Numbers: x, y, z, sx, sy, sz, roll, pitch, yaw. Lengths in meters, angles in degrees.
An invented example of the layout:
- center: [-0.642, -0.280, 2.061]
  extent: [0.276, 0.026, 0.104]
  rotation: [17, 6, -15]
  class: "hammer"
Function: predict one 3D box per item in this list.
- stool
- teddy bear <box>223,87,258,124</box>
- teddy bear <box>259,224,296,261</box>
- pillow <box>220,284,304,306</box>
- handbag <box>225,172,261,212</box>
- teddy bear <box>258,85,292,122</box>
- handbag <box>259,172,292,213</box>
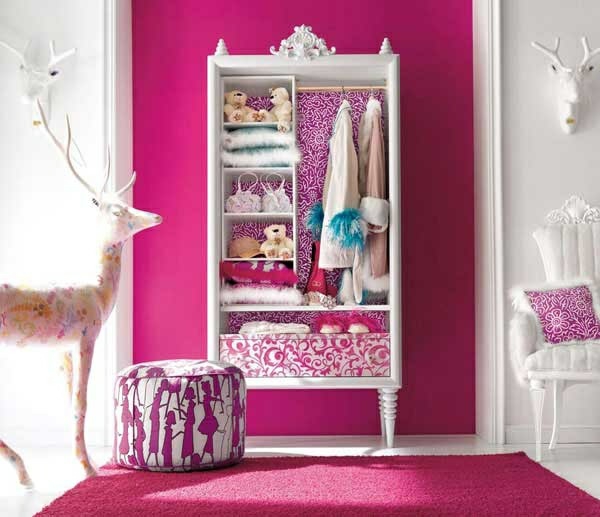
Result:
- center: [-0.670, 0.862, 3.935]
  extent: [0.703, 0.537, 0.705]
  rotation: [-2, -8, 19]
  class: "stool"
- center: [-0.393, -0.939, 4.379]
  extent: [0.205, 0.256, 0.210]
  rotation: [-3, 0, -32]
  class: "teddy bear"
- center: [-0.122, -0.101, 4.408]
  extent: [0.209, 0.214, 0.123]
  rotation: [-8, -5, 32]
  class: "teddy bear"
- center: [-0.233, 0.223, 4.282]
  extent: [0.512, 0.121, 0.103]
  rotation: [0, 1, 1]
  class: "pillow"
- center: [-0.361, -0.406, 4.441]
  extent: [0.195, 0.263, 0.136]
  rotation: [1, 1, -4]
  class: "handbag"
- center: [-0.149, -0.968, 4.432]
  extent: [0.217, 0.239, 0.182]
  rotation: [1, 16, 28]
  class: "teddy bear"
- center: [-0.162, -0.393, 4.485]
  extent: [0.178, 0.270, 0.131]
  rotation: [-10, -6, -4]
  class: "handbag"
